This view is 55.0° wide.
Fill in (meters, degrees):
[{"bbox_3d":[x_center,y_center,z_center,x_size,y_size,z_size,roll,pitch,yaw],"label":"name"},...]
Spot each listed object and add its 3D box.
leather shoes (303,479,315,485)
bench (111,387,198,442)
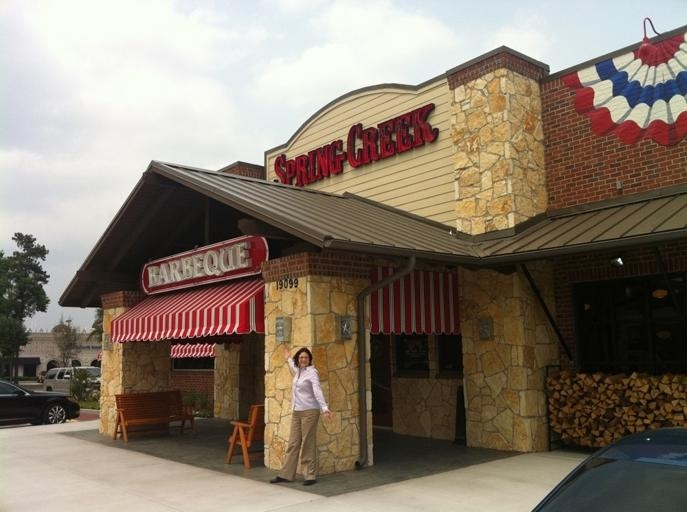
[{"bbox_3d":[-0.653,4.407,12.885,0.249,0.097,0.184,-1,-3,-2],"label":"leather shoes"},{"bbox_3d":[-5.151,4.374,18.107,0.879,1.172,2.184,-6,-10,42],"label":"bench"}]
